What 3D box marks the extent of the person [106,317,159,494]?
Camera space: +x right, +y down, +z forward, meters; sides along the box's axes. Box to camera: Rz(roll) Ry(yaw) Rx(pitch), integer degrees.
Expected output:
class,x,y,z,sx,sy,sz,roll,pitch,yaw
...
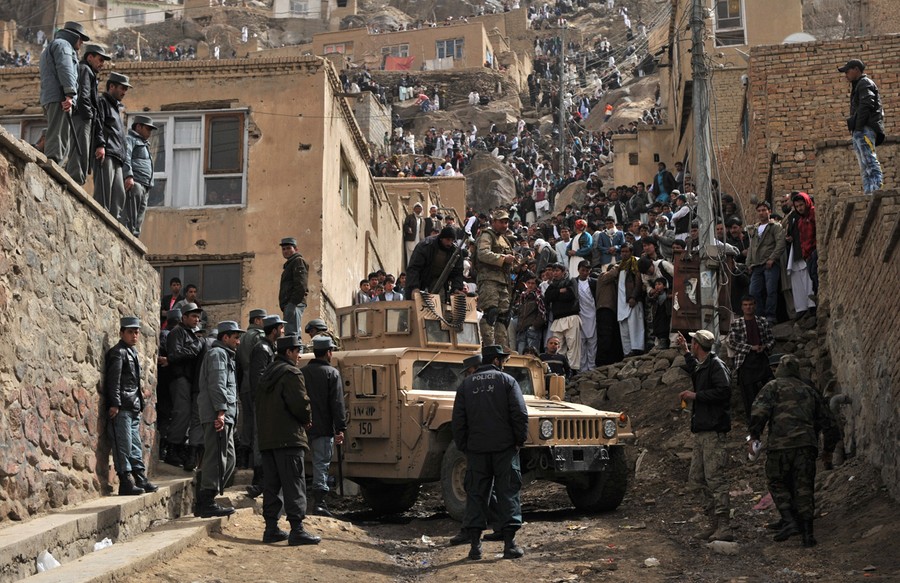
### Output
class,x,y,z,sx,sy,sz,roll,pitch,yaw
person,-5.508,1.989,27.675,0.648,3.032,0.527,-3,0,-35

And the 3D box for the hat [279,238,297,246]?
class,x,y,z,sx,sy,sz,roll,pitch,yaw
hat,-3.044,-0.937,30.903,0.221,0.107,0.295,0,1,26

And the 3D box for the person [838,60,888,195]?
class,x,y,z,sx,sy,sz,roll,pitch,yaw
person,7.764,-3.112,30.206,0.643,2.574,0.798,-3,0,14

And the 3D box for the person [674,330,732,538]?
class,x,y,z,sx,sy,sz,roll,pitch,yaw
person,4.447,2.503,27.772,0.768,3.675,0.734,-3,0,30

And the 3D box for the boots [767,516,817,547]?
class,x,y,z,sx,sy,sz,roll,pitch,yaw
boots,5.669,4.094,27.275,0.330,0.610,0.876,2,-3,-35

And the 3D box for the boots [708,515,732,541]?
class,x,y,z,sx,sy,sz,roll,pitch,yaw
boots,4.578,4.099,27.411,0.445,0.436,0.440,-3,-1,9

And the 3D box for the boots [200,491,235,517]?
class,x,y,z,sx,sy,sz,roll,pitch,yaw
boots,-4.149,3.769,28.117,0.738,0.549,0.273,0,1,-15

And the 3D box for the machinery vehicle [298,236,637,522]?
class,x,y,z,sx,sy,sz,roll,pitch,yaw
machinery vehicle,-0.113,2.053,31.133,4.251,3.963,6.359,4,-7,-41

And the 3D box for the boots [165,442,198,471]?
class,x,y,z,sx,sy,sz,roll,pitch,yaw
boots,-5.078,3.080,29.458,0.864,0.618,0.296,-3,-5,20

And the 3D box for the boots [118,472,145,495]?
class,x,y,z,sx,sy,sz,roll,pitch,yaw
boots,-5.430,3.326,27.495,0.427,0.372,0.418,-4,-1,41

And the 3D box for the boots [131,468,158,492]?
class,x,y,z,sx,sy,sz,roll,pitch,yaw
boots,-5.272,3.304,27.685,0.542,0.547,0.266,0,-1,-11

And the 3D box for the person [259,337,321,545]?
class,x,y,z,sx,sy,sz,roll,pitch,yaw
person,-2.809,2.611,27.583,0.956,3.558,0.492,-3,0,-6

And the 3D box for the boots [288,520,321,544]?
class,x,y,z,sx,sy,sz,roll,pitch,yaw
boots,-2.413,4.235,27.782,0.731,0.560,0.250,-1,-2,-10

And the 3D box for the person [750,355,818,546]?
class,x,y,z,sx,sy,sz,roll,pitch,yaw
person,5.774,2.924,27.431,1.151,3.162,0.752,-3,0,13

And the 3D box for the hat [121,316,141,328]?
class,x,y,z,sx,sy,sz,roll,pitch,yaw
hat,-5.525,0.562,27.842,0.267,0.137,0.199,-6,-3,22

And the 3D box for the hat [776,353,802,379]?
class,x,y,z,sx,sy,sz,roll,pitch,yaw
hat,5.880,1.318,28.050,0.421,0.434,0.375,-1,4,-29

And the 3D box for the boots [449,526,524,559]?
class,x,y,z,sx,sy,sz,roll,pitch,yaw
boots,0.510,4.372,27.355,1.417,0.628,0.472,-4,-2,-14

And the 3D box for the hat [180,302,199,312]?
class,x,y,z,sx,sy,sz,roll,pitch,yaw
hat,-4.736,0.320,29.434,0.303,0.208,0.388,-3,-1,-10

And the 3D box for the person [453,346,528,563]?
class,x,y,z,sx,sy,sz,roll,pitch,yaw
person,0.718,2.779,27.437,1.246,3.637,0.600,-3,0,1

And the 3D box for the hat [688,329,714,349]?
class,x,y,z,sx,sy,sz,roll,pitch,yaw
hat,4.370,0.844,28.133,0.288,0.220,0.411,7,20,-40

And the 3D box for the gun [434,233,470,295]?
class,x,y,z,sx,sy,sz,roll,pitch,yaw
gun,0.006,-0.508,30.864,0.140,1.344,0.515,31,9,31

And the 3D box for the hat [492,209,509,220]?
class,x,y,z,sx,sy,sz,roll,pitch,yaw
hat,0.953,-1.490,30.935,0.206,0.109,0.288,5,-7,-11

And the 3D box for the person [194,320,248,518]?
class,x,y,z,sx,sy,sz,roll,pitch,yaw
person,-4.033,2.267,28.092,0.866,3.373,0.564,-3,0,-42

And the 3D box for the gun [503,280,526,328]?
class,x,y,z,sx,sy,sz,roll,pitch,yaw
gun,1.405,0.389,36.177,0.291,0.265,1.470,16,44,4
